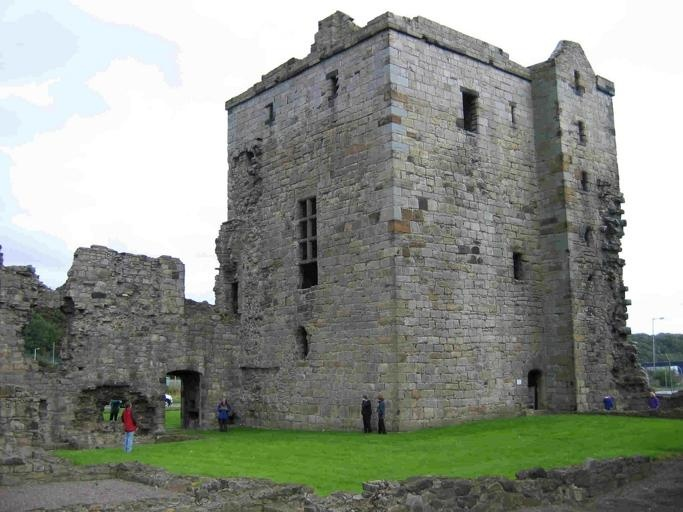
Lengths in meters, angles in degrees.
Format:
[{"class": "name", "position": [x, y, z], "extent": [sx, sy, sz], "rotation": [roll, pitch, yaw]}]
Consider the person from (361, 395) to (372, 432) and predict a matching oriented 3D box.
[{"class": "person", "position": [0.852, 5.127, 21.252], "extent": [0.386, 1.207, 0.537], "rotation": [-5, -19, 7]}]

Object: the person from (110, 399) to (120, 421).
[{"class": "person", "position": [-8.837, 6.010, 25.396], "extent": [0.396, 0.807, 1.494], "rotation": [4, -18, -17]}]

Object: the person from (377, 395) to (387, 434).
[{"class": "person", "position": [1.312, 5.056, 20.864], "extent": [0.291, 1.222, 0.554], "rotation": [-4, -19, 5]}]

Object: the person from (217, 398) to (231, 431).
[{"class": "person", "position": [-4.671, 6.256, 25.755], "extent": [0.566, 1.301, 1.654], "rotation": [1, -17, -10]}]
